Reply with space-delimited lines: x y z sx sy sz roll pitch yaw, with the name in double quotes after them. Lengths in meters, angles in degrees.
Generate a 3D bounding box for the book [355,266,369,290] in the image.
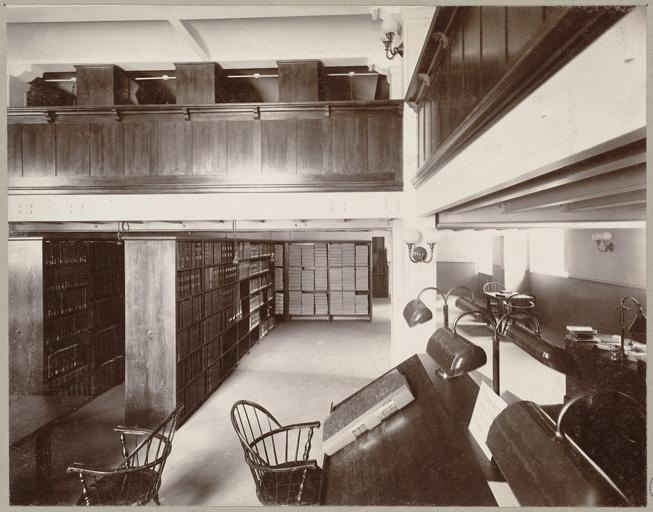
0.810 0.532 12.134 0.355 0.696 0.703 0 2 3 "book"

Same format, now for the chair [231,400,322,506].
-0.467 1.846 4.912 0.614 0.972 0.648 -4 22 9 "chair"

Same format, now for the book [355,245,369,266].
0.793 -0.018 11.821 0.332 0.558 0.122 1 -6 5 "book"

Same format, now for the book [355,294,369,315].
0.801 1.094 12.078 0.348 0.572 0.385 -1 2 3 "book"

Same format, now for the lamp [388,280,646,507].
1.400 0.908 4.413 0.820 1.662 2.993 1 0 -2 "lamp"

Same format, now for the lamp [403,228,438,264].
1.060 -0.122 5.926 0.353 0.371 0.182 0 -4 -7 "lamp"

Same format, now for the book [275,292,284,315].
-1.035 1.062 11.852 0.231 0.461 0.461 0 1 2 "book"

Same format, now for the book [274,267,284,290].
-1.042 0.508 11.813 0.241 0.493 0.471 -1 1 3 "book"

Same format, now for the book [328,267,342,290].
0.234 0.532 12.189 0.365 0.746 0.538 -1 0 2 "book"

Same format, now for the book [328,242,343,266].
0.209 -0.013 11.872 0.429 0.666 0.366 -1 -3 1 "book"

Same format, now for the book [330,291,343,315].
0.238 1.054 12.194 0.372 0.753 0.561 -1 0 1 "book"
